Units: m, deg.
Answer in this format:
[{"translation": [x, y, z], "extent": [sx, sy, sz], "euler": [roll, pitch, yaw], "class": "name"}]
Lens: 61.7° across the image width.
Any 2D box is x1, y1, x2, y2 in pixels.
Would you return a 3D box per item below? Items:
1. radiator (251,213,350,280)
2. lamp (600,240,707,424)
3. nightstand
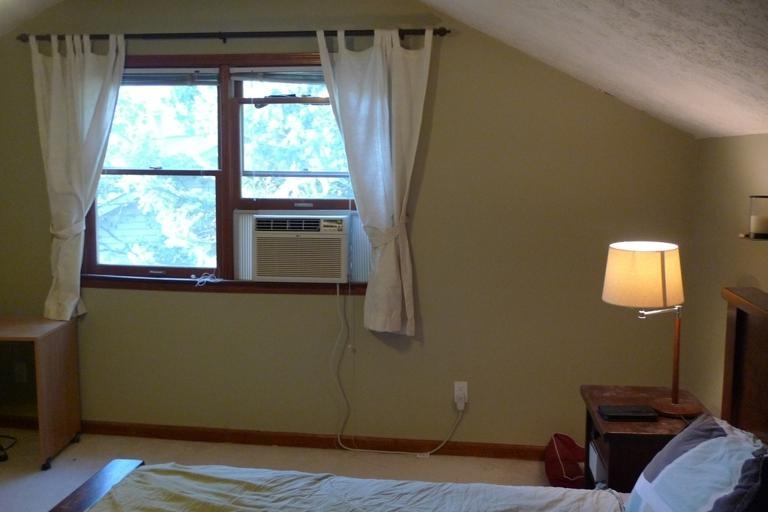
[{"translation": [-0.564, -0.052, 4.387], "extent": [0.627, 0.433, 0.126], "euler": [1, 3, -7], "class": "radiator"}, {"translation": [1.450, 0.401, 3.607], "extent": [0.453, 0.948, 0.495], "euler": [4, 8, 6], "class": "lamp"}, {"translation": [1.349, 0.942, 3.415], "extent": [0.516, 0.635, 0.681], "euler": [1, 5, 6], "class": "nightstand"}]
